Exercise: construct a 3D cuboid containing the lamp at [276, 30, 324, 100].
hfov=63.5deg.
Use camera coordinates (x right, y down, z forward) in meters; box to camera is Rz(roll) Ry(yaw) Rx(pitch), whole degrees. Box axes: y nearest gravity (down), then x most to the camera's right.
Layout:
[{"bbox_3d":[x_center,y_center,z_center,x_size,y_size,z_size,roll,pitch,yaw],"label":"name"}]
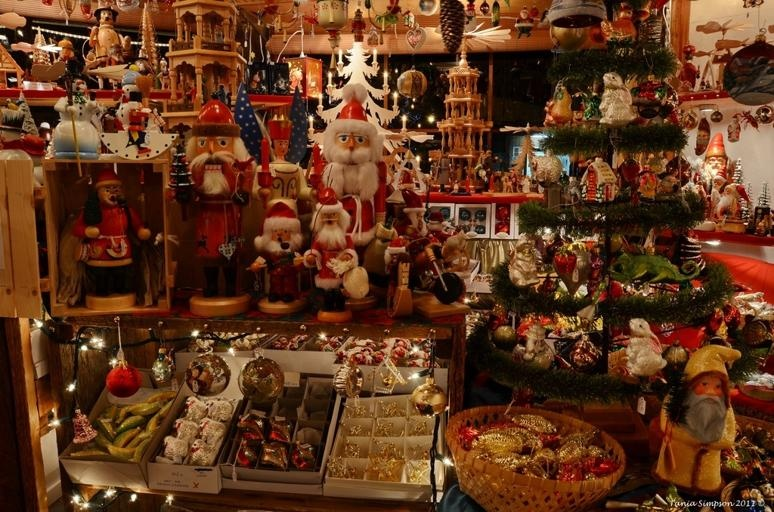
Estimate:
[{"bbox_3d":[-0.903,-2.043,6.738,0.278,0.707,0.304,3,7,33],"label":"lamp"}]
